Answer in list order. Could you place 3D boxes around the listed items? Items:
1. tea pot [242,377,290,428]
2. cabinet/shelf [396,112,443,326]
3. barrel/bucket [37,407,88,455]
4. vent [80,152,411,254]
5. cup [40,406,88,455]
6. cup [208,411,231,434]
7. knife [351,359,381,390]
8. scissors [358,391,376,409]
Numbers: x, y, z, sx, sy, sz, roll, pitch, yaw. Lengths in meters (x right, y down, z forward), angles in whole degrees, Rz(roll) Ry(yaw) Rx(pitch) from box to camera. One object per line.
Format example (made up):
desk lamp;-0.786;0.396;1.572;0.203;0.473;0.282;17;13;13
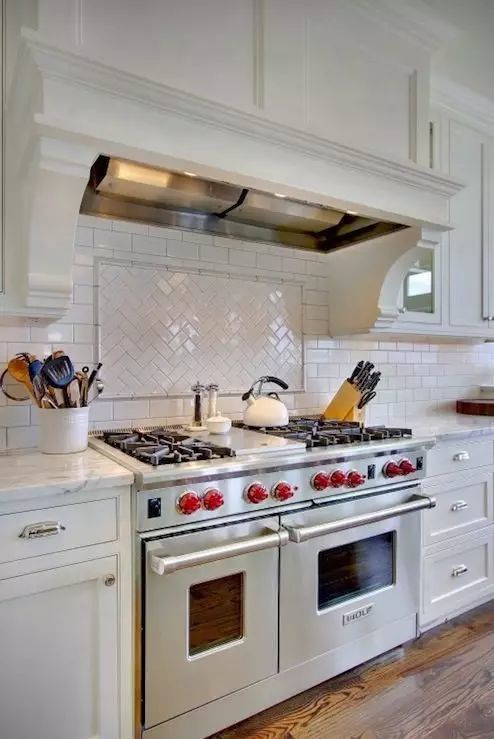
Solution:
tea pot;0.093;0.126;2.425;0.233;0.213;0.177;-5;3;-41
cabinet/shelf;0.863;-0.794;2.976;0.128;1.200;0.478;-4;-14;39
barrel/bucket;-0.568;0.183;1.819;0.140;0.136;0.144;0;-1;0
vent;-0.007;-0.606;2.308;1.361;0.145;0.495;-3;6;-37
cup;-0.586;0.184;1.877;0.149;0.150;0.154;2;7;0
cup;-0.102;0.198;2.212;0.069;0.059;0.068;0;-1;0
knife;0.512;0.031;2.558;0.090;0.157;0.038;8;8;2
scissors;0.538;0.136;2.648;0.029;0.097;0.060;39;-21;-1
